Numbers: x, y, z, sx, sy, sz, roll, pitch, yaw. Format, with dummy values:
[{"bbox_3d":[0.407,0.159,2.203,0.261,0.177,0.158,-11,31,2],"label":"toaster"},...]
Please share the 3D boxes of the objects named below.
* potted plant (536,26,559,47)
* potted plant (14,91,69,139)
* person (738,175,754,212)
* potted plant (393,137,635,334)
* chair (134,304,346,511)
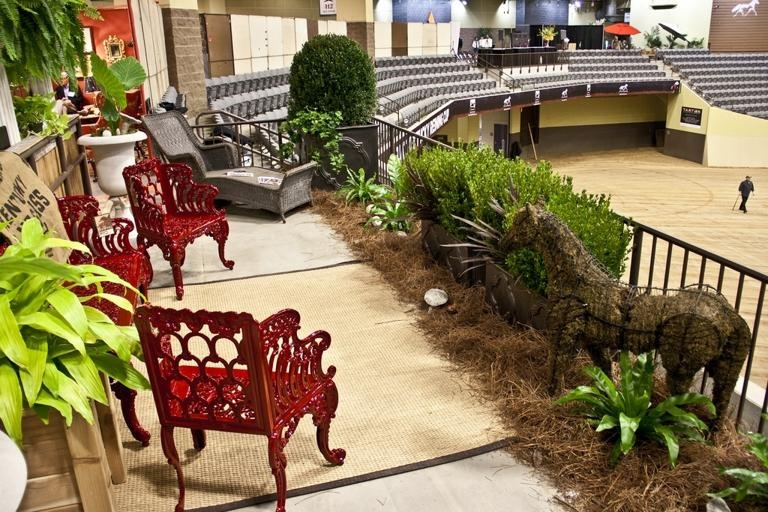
[{"bbox_3d":[9.672,-13.099,29.642,1.073,1.182,2.096,7,20,18],"label":"potted plant"},{"bbox_3d":[-3.463,-1.403,5.103,0.511,0.359,0.506,-2,16,-8],"label":"potted plant"},{"bbox_3d":[12.066,-2.211,16.665,0.369,1.050,2.349,14,23,34],"label":"person"},{"bbox_3d":[1.183,-0.296,4.998,1.377,1.003,2.305,-19,28,-35],"label":"potted plant"},{"bbox_3d":[-0.888,0.982,3.011,0.911,1.165,0.772,4,23,9],"label":"chair"}]
